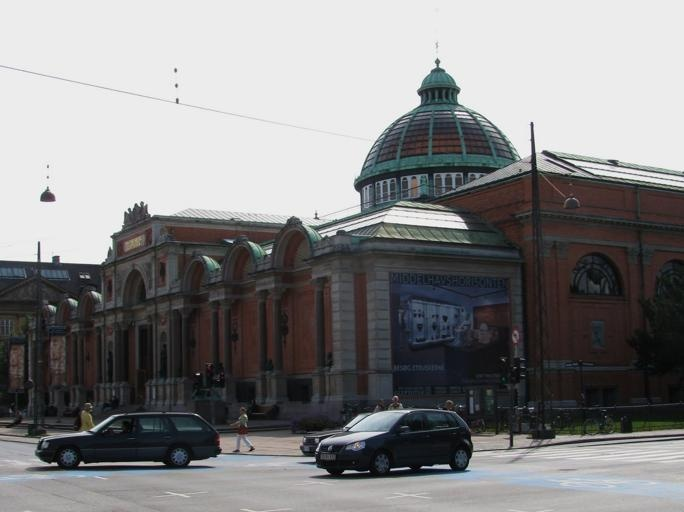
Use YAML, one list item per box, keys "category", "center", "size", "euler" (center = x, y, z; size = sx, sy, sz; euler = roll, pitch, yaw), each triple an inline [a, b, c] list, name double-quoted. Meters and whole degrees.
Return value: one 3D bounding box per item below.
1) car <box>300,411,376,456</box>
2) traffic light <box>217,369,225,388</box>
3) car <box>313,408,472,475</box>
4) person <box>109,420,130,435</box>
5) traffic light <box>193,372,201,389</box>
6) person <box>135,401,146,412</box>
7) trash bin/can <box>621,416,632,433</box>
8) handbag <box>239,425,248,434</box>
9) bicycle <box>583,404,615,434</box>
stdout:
- category: "car"
  center: [-0.686, 7.363, 54.714]
  size: [3.845, 1.327, 1.745]
  euler: [8, -14, -37]
- category: "traffic light"
  center: [-6.914, 6.919, 74.382]
  size: [0.400, 0.932, 0.790]
  euler: [-1, -14, -1]
- category: "car"
  center: [2.156, 7.060, 49.643]
  size: [5.713, 2.533, 1.245]
  euler: [5, -15, -23]
- category: "person"
  center: [-8.838, 6.801, 52.008]
  size: [0.695, 0.450, 0.486]
  euler: [-1, -2, -2]
- category: "traffic light"
  center: [-8.156, 7.005, 74.000]
  size: [0.391, 0.853, 0.643]
  euler: [2, -14, -13]
- category: "person"
  center: [-14.225, 10.513, 92.119]
  size: [0.470, 0.805, 0.836]
  euler: [5, -9, -27]
- category: "trash bin/can"
  center: [14.052, 8.291, 64.739]
  size: [0.528, 0.820, 0.703]
  euler: [-4, -14, 10]
- category: "handbag"
  center: [-4.455, 7.790, 58.993]
  size: [0.380, 0.377, 0.387]
  euler: [0, 1, -8]
- category: "bicycle"
  center: [12.870, 8.170, 65.423]
  size: [2.001, 1.387, 0.934]
  euler: [12, -19, -43]
